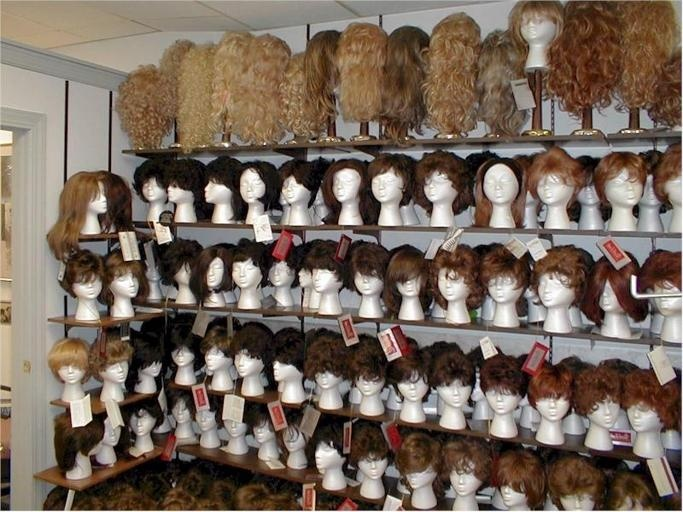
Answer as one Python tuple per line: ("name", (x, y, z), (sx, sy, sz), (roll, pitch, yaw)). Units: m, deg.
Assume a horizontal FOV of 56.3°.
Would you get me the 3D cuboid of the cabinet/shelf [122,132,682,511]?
("cabinet/shelf", (0.817, 0.262, 3.957), (2.393, 1.818, 0.552), (-1, -3, 18))
